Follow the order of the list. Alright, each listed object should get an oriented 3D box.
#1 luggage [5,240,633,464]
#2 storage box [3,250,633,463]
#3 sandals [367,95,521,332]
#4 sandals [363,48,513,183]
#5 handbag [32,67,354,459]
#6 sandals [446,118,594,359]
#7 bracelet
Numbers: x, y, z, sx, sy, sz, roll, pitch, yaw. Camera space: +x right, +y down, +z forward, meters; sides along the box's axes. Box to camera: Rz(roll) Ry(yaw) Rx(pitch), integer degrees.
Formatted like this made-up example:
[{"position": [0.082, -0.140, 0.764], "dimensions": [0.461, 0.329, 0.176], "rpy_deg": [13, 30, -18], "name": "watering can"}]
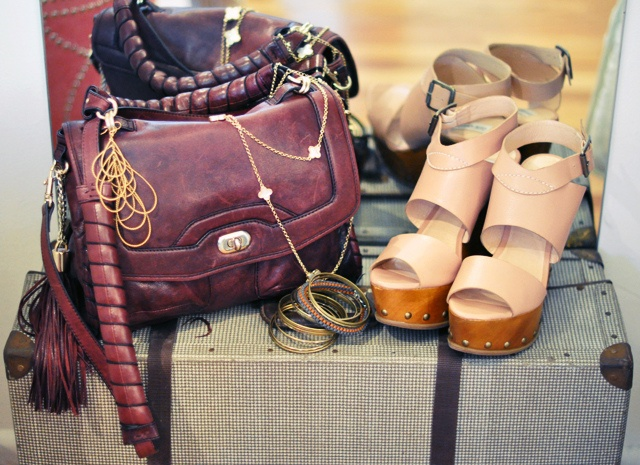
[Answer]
[{"position": [0.066, 0.184, 1.260], "dimensions": [0.638, 0.241, 0.567], "rpy_deg": [0, 2, 2], "name": "luggage"}, {"position": [-0.012, 0.188, 0.994], "dimensions": [0.498, 0.291, 0.350], "rpy_deg": [-1, 2, 3], "name": "storage box"}, {"position": [0.194, -0.022, 1.049], "dimensions": [0.110, 0.145, 0.356], "rpy_deg": [13, 65, 39], "name": "sandals"}, {"position": [0.176, -0.230, 1.227], "dimensions": [0.119, 0.140, 0.341], "rpy_deg": [-26, 36, -12], "name": "sandals"}, {"position": [-0.198, 0.022, 1.029], "dimensions": [0.514, 0.443, 0.289], "rpy_deg": [-24, 37, -34], "name": "handbag"}, {"position": [0.302, -0.023, 1.067], "dimensions": [0.148, 0.169, 0.425], "rpy_deg": [13, 61, 32], "name": "sandals"}, {"position": [0.002, 0.126, 1.018], "dimensions": [0.102, 0.065, 0.137], "rpy_deg": [30, 32, 15], "name": "bracelet"}]
